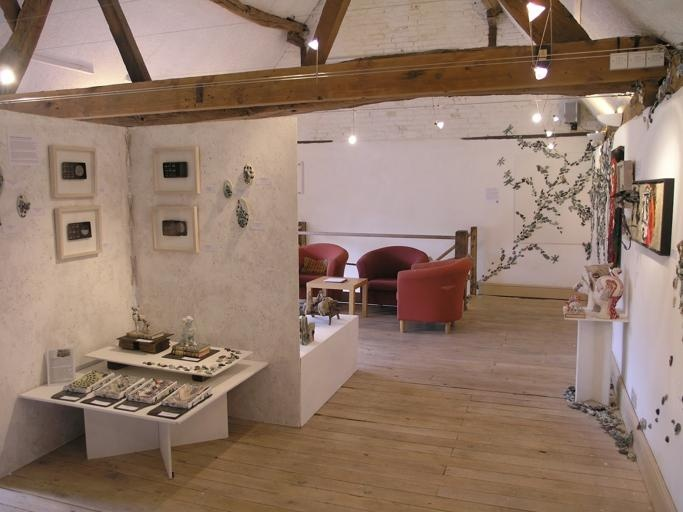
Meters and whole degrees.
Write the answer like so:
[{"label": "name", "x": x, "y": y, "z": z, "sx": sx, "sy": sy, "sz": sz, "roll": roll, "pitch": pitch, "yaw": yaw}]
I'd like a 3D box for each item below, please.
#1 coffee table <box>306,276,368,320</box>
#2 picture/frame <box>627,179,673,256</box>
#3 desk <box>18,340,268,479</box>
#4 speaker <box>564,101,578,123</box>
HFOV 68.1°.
[{"label": "coffee table", "x": -0.014, "y": 0.628, "z": 7.698, "sx": 0.779, "sy": 0.629, "sz": 1.029, "roll": 2, "pitch": 11, "yaw": 14}, {"label": "picture/frame", "x": 2.372, "y": -0.296, "z": 3.877, "sx": 0.067, "sy": 0.477, "sz": 0.686, "roll": 2, "pitch": 4, "yaw": 18}, {"label": "desk", "x": -1.439, "y": 1.019, "z": 4.164, "sx": 1.065, "sy": 0.567, "sz": 1.133, "roll": 5, "pitch": 11, "yaw": 23}, {"label": "speaker", "x": 3.741, "y": -2.352, "z": 8.249, "sx": 0.216, "sy": 0.318, "sz": 0.174, "roll": 4, "pitch": 12, "yaw": 21}]
